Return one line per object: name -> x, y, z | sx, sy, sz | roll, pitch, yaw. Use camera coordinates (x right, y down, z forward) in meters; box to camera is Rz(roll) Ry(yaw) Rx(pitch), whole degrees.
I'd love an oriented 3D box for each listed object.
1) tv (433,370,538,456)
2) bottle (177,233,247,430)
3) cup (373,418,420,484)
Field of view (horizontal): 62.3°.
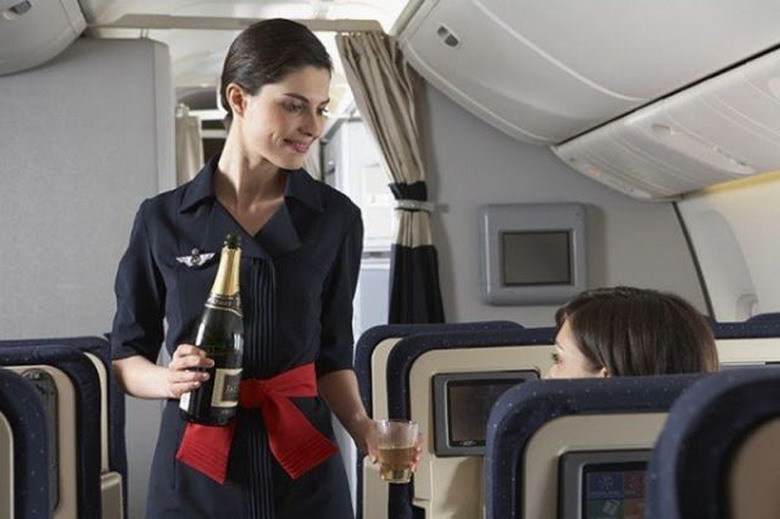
tv -> 0.293, 0.475, 2.001 | 0.327, 0.274, 0.067 | 0, -9, 12
bottle -> -0.378, 0.155, 1.400 | 0.127, 0.402, 0.141 | 4, -9, -15
cup -> 0.015, 0.437, 1.519 | 0.133, 0.147, 0.135 | 1, -2, 0
